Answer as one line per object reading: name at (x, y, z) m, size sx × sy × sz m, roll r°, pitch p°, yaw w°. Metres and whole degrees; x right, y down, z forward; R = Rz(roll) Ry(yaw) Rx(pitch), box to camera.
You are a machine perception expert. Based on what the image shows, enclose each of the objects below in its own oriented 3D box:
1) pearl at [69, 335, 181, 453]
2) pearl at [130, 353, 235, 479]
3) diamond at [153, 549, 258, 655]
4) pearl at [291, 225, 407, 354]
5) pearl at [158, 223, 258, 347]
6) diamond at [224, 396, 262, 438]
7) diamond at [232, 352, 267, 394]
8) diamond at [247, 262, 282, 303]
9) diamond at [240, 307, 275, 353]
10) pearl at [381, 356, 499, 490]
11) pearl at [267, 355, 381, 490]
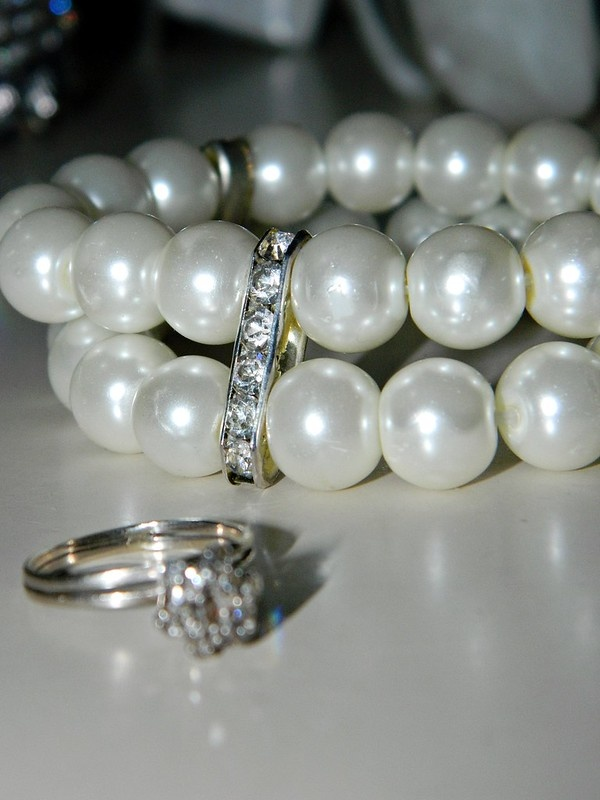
pearl at (-0.176, 0.001, 1.001) m, size 0.142 × 0.125 × 0.137 m, roll 7°, pitch 80°, yaw -10°
pearl at (-0.114, 0.027, 0.898) m, size 0.118 × 0.120 × 0.108 m, roll -6°, pitch 27°, yaw -1°
diamond at (-0.063, 0.142, 0.594) m, size 0.073 × 0.032 × 0.073 m, roll -7°, pitch 49°, yaw -2°
pearl at (0.051, -0.112, 0.867) m, size 0.137 × 0.127 × 0.132 m, roll -1°, pitch 93°, yaw 13°
pearl at (-0.096, -0.120, 0.901) m, size 0.112 × 0.105 × 0.111 m, roll 4°, pitch 97°, yaw -39°
diamond at (-0.061, 0.016, 0.828) m, size 0.041 × 0.021 × 0.034 m, roll 0°, pitch 86°, yaw -2°
diamond at (-0.052, -0.026, 0.836) m, size 0.033 × 0.022 × 0.032 m, roll 2°, pitch 56°, yaw 1°
diamond at (-0.036, -0.114, 0.844) m, size 0.032 × 0.021 × 0.034 m, roll 1°, pitch 55°, yaw 0°
diamond at (-0.044, -0.070, 0.837) m, size 0.042 × 0.014 × 0.034 m, roll 3°, pitch 81°, yaw 5°
pearl at (0.125, 0.024, 0.833) m, size 0.126 × 0.064 × 0.109 m, roll -18°, pitch 90°, yaw -10°
pearl at (0.045, 0.012, 0.855) m, size 0.133 × 0.131 × 0.116 m, roll 3°, pitch 19°, yaw 9°
